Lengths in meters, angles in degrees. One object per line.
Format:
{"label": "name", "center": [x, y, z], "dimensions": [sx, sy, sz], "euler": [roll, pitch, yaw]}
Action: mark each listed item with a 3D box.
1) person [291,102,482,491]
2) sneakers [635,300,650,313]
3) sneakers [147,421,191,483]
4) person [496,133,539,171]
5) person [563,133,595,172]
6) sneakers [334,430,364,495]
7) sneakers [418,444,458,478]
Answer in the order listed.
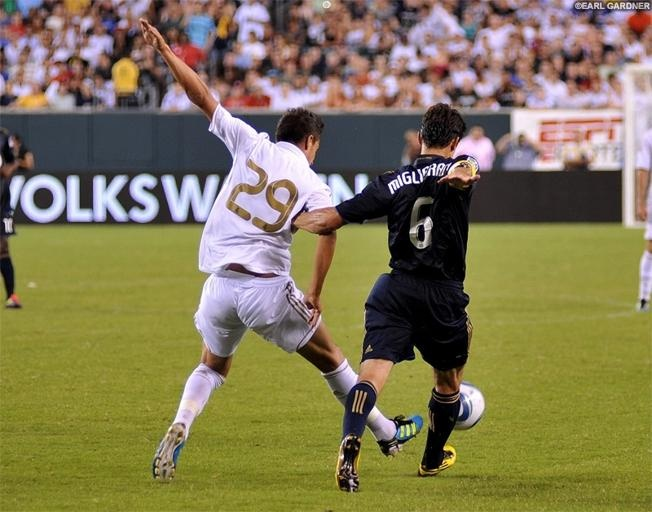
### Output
{"label": "person", "center": [0.775, 0.416, 12.094], "dimensions": [1.378, 3.529, 0.950], "euler": [-4, 13, -15]}
{"label": "sneakers", "center": [4.000, 0.638, 16.315], "dimensions": [0.175, 0.204, 0.139], "euler": [-1, 13, 13]}
{"label": "sneakers", "center": [-1.448, 1.853, 12.221], "dimensions": [0.212, 0.657, 0.296], "euler": [20, -8, 4]}
{"label": "person", "center": [3.810, -2.119, 26.170], "dimensions": [0.854, 0.794, 0.684], "euler": [11, 18, 40]}
{"label": "person", "center": [5.008, -2.070, 25.518], "dimensions": [0.688, 0.774, 0.293], "euler": [-4, -12, 44]}
{"label": "sneakers", "center": [0.206, 1.912, 11.778], "dimensions": [0.217, 0.510, 0.200], "euler": [0, 13, 1]}
{"label": "sneakers", "center": [1.120, 1.998, 12.566], "dimensions": [0.172, 0.232, 0.477], "euler": [25, 42, 34]}
